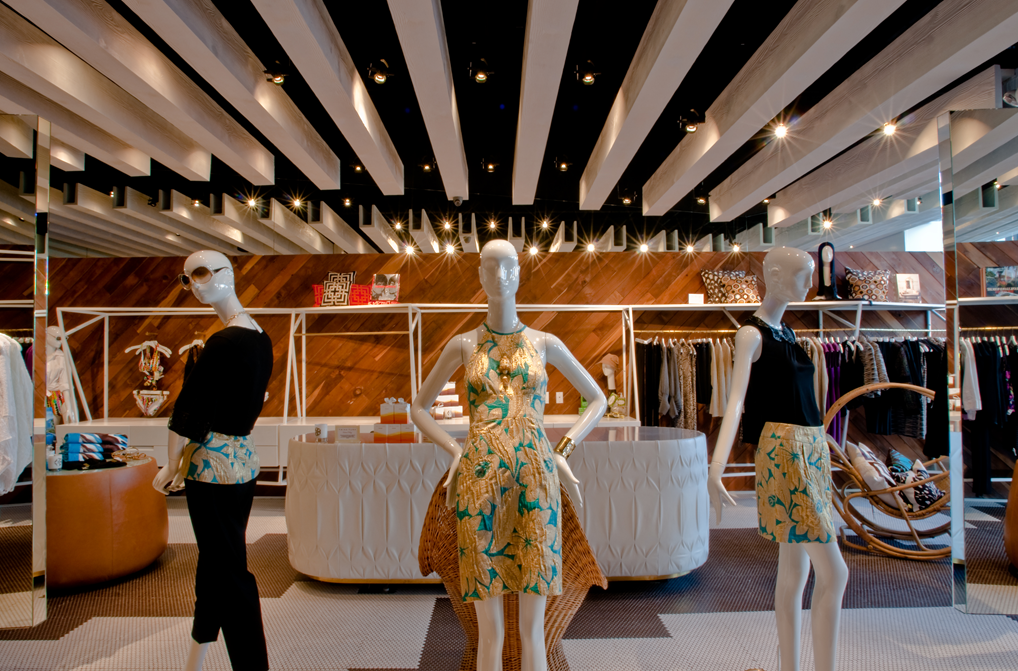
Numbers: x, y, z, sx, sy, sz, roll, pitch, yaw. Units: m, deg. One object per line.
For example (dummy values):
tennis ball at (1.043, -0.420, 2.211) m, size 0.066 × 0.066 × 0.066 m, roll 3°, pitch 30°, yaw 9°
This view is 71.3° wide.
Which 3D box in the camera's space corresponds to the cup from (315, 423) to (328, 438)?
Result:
cup at (-1.504, 0.773, 5.742) m, size 0.091 × 0.124 × 0.186 m, roll 0°, pitch -5°, yaw -11°
